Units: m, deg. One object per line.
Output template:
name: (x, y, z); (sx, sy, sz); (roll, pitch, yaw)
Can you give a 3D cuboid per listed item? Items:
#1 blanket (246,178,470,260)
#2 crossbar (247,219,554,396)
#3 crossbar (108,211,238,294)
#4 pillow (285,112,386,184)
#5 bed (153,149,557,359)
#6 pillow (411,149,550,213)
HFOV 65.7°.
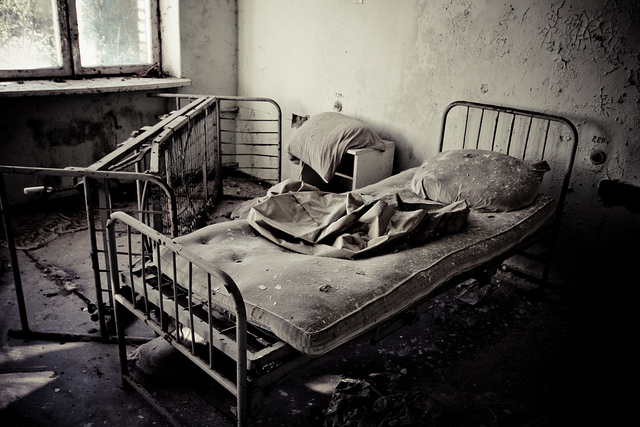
blanket: (0.251, 0.028, 3.642); (1.612, 0.478, 0.955); (9, 27, 13)
crossbar: (0.493, 0.629, 3.251); (1.364, 0.555, 1.177); (12, 27, 32)
crossbar: (-0.821, 0.181, 2.792); (1.037, 0.227, 0.131); (14, 21, 33)
pillow: (0.179, -0.743, 4.803); (0.761, 0.397, 0.748); (-33, 44, -21)
bed: (0.349, 0.108, 3.486); (2.323, 0.977, 1.217); (-10, 22, -36)
pillow: (1.234, -0.280, 4.049); (0.931, 0.496, 1.098); (-13, 22, -38)
